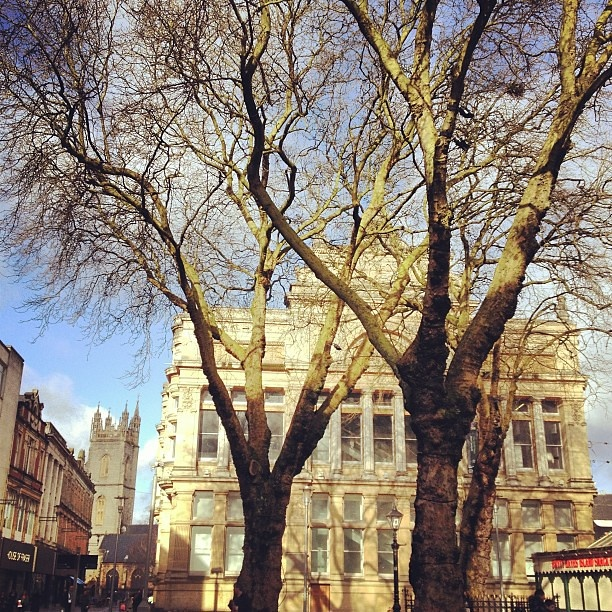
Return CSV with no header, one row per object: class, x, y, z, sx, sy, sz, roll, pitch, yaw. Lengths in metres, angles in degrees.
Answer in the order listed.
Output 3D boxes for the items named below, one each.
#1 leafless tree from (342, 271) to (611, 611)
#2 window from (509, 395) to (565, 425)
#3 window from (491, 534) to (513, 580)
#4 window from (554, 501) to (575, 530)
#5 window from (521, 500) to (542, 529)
leafless tree,8.151,8.339,38.585,12.699,14.447,9.008,3,-19,-10
window,11.618,5.219,35.140,2.972,2.219,0.468,2,-11,-1
window,9.521,12.164,33.939,1.063,2.835,0.290,-10,-62,20
window,12.931,10.476,34.971,0.931,1.542,0.151,7,-27,0
window,11.239,10.363,34.823,0.931,1.556,0.154,7,-24,-2
